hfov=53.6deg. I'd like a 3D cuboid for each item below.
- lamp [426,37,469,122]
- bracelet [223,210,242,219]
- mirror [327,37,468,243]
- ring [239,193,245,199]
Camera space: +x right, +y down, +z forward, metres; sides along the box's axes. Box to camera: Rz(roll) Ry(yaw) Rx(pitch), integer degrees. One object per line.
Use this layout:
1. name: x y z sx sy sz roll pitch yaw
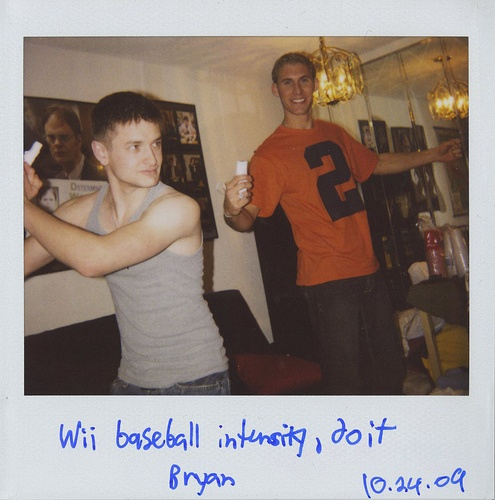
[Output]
1. lamp: 0.654 -0.524 1.592 0.105 0.235 0.107 -4 -3 -30
2. bracelet: -0.046 -0.088 1.277 0.022 0.019 0.024 7 27 42
3. mirror: 0.537 -0.384 1.724 0.035 0.863 0.692 -2 1 -36
4. ring: -0.014 -0.135 1.229 0.009 0.015 0.005 1 9 -10
